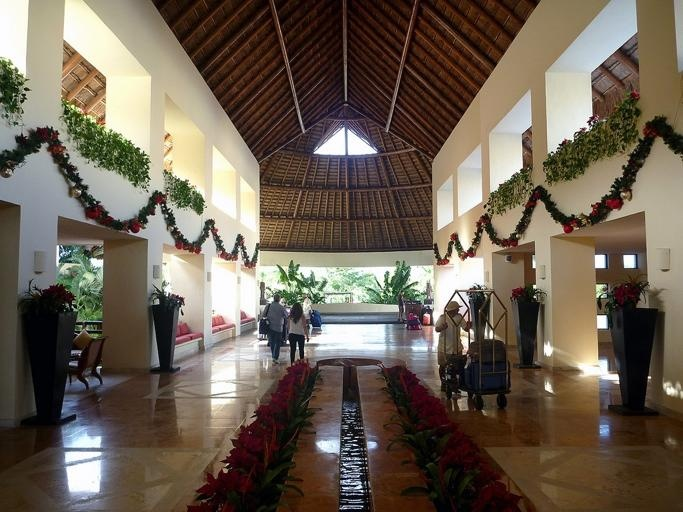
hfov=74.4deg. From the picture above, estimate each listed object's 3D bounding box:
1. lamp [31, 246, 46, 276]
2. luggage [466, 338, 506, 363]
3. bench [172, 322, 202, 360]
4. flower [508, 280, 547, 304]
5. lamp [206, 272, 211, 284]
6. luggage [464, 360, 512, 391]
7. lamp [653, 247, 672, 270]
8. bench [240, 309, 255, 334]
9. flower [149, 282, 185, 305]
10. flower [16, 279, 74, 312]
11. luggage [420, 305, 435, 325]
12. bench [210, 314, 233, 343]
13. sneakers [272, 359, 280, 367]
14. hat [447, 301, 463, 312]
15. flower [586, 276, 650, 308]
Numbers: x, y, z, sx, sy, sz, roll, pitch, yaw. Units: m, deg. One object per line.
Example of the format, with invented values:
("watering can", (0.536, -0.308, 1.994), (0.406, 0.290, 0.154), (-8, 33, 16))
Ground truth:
("lamp", (-3.994, 0.086, 5.929), (0.038, 0.319, 0.170), (0, -6, 12))
("luggage", (1.995, 1.294, 6.138), (0.423, 0.328, 0.332), (0, 1, 1))
("bench", (-3.720, 2.010, 10.972), (0.574, 0.793, 1.453), (3, -7, -17))
("flower", (3.724, 0.760, 8.959), (0.603, 0.310, 0.388), (0, -6, 13))
("lamp", (-3.551, 0.577, 12.100), (0.167, 0.355, 0.183), (-1, -2, 1))
("luggage", (2.003, 1.642, 6.110), (0.530, 0.406, 0.374), (1, -11, -8))
("lamp", (4.206, 0.055, 5.866), (0.095, 0.299, 0.185), (1, -6, 1))
("bench", (-3.424, 2.402, 16.595), (0.625, 0.729, 2.205), (3, -6, -12))
("flower", (-3.491, 0.797, 9.066), (0.620, 0.487, 0.666), (1, 1, 0))
("flower", (-3.787, 0.524, 5.777), (0.580, 0.415, 0.469), (6, -8, -38))
("luggage", (3.516, 2.439, 18.543), (0.547, 1.036, 0.527), (2, 5, 15))
("bench", (-3.658, 2.181, 13.713), (0.616, 0.763, 1.991), (2, -6, -9))
("sneakers", (-1.394, 2.265, 9.537), (0.074, 0.162, 0.218), (2, 0, 14))
("hat", (1.685, 0.777, 6.801), (0.171, 0.087, 0.179), (-3, -7, -7))
("flower", (4.785, 0.614, 7.816), (0.897, 0.509, 0.948), (-12, 1, -6))
